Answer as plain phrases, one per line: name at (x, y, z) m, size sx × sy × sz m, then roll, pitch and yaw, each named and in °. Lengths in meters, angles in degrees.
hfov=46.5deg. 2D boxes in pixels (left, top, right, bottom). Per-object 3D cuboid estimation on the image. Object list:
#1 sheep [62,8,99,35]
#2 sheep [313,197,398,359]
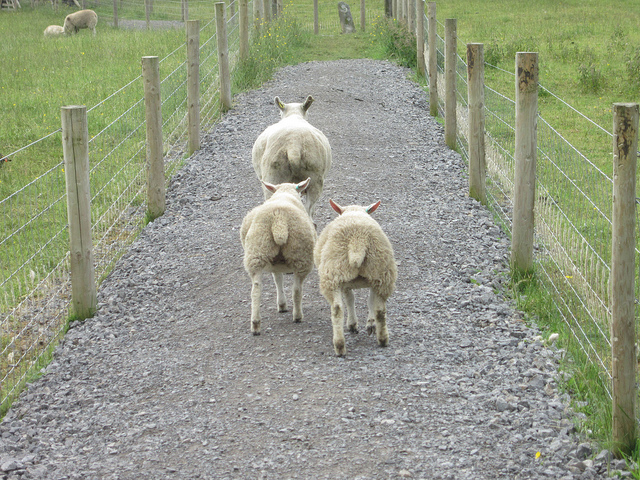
sheep at (-8.344, -7.651, 25.842) m, size 1.079 × 0.729 × 1.166 m, roll -9°, pitch 25°, yaw -19°
sheep at (0.342, 0.331, 7.509) m, size 0.768 × 1.276 × 0.947 m, roll -3°, pitch 22°, yaw -7°
